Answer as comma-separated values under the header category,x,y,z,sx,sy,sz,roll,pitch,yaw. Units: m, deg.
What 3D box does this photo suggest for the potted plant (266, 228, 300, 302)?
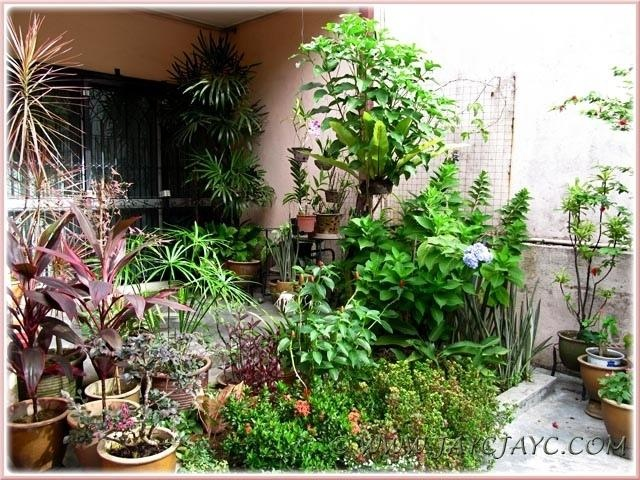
category,x,y,z,sx,sy,sz,roll,pitch,yaw
potted plant,-0.426,0.311,5.640,0.420,0.899,0.363,-7,3,-35

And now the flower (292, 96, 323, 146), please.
category,x,y,z,sx,sy,sz,roll,pitch,yaw
flower,-0.168,-1.324,5.532,0.261,0.478,0.308,-2,6,-44

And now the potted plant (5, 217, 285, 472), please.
category,x,y,z,sx,sy,sz,roll,pitch,yaw
potted plant,-1.530,0.538,3.427,1.438,1.688,1.200,5,-8,0

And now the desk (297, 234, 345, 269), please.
category,x,y,z,sx,sy,sz,roll,pitch,yaw
desk,-0.006,0.118,5.869,0.527,0.421,1.340,2,2,-1
